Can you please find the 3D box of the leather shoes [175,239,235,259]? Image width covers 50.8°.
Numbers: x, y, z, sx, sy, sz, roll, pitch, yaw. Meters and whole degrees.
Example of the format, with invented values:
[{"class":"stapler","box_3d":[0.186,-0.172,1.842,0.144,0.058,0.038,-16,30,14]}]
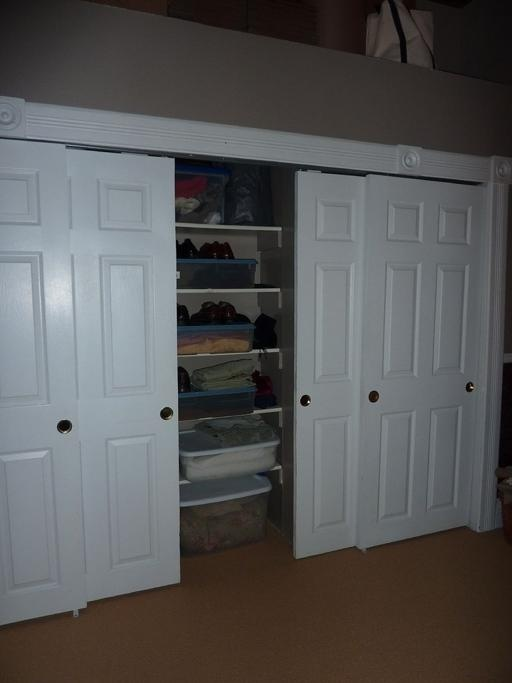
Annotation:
[{"class":"leather shoes","box_3d":[-0.259,-0.452,2.727,0.144,0.070,0.205,-6,10,-34]}]
